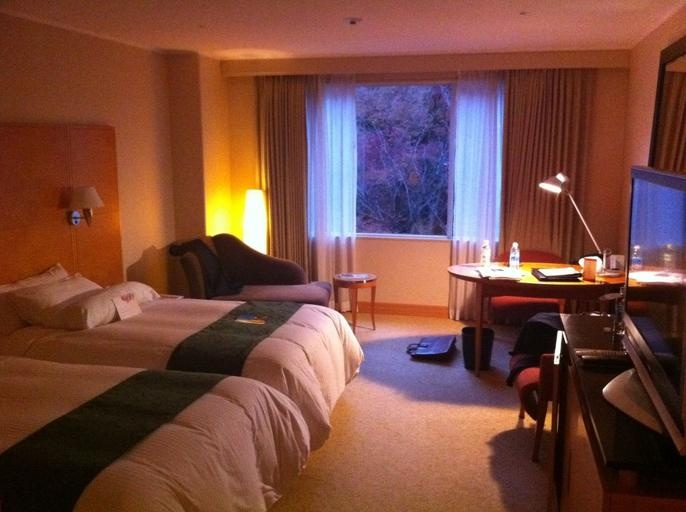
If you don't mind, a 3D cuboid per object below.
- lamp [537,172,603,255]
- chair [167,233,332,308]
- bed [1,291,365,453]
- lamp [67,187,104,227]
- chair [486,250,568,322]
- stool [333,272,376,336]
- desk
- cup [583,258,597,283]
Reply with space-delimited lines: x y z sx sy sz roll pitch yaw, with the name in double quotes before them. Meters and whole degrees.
"lamp" 2.234 -0.385 5.210 0.636 0.927 1.431 5 15 25
"chair" -1.019 0.181 5.572 1.282 0.818 0.857 0 7 7
"bed" -1.009 0.681 3.715 1.660 0.491 1.137 1 6 6
"lamp" -2.165 -0.425 4.482 0.232 0.340 0.382 0 14 4
"chair" 1.915 0.329 5.592 0.644 0.908 0.803 0 -7 22
"stool" 0.122 0.503 5.800 0.470 0.564 0.473 -5 10 -30
"desk" 1.711 0.599 4.970 1.433 0.752 1.539 4 0 20
"cup" 2.071 0.115 4.421 0.112 0.180 0.126 5 15 23
